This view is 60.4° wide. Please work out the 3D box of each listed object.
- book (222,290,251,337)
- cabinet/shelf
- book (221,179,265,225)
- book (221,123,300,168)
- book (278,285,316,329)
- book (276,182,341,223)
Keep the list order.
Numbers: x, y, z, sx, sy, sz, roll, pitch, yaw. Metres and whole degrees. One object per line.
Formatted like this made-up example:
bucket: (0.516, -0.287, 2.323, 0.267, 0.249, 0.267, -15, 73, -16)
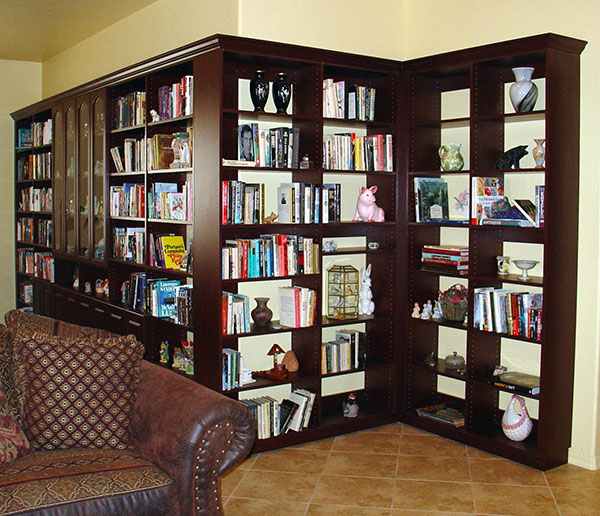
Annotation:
book: (-0.445, 0.331, 3.417, 0.204, 0.302, 0.278, -1, 5, -31)
cabinet/shelf: (0.183, -0.055, 3.529, 1.221, 1.972, 3.047, -2, 4, -45)
book: (-0.359, -0.353, 3.365, 0.232, 0.344, 0.333, 2, 5, 21)
book: (-0.260, -0.743, 3.455, 0.614, 0.283, 0.198, -3, 10, -38)
book: (-0.046, 0.278, 3.747, 0.217, 0.369, 0.358, -2, 6, -36)
book: (0.079, -0.382, 3.612, 0.473, 0.278, 0.155, 0, 8, -28)
